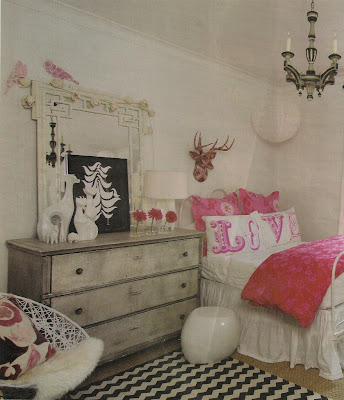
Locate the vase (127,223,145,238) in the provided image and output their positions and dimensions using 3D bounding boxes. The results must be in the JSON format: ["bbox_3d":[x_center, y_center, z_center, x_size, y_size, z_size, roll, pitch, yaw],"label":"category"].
[{"bbox_3d":[-0.224,0.196,2.697,0.091,0.089,0.095,-2,-6,41],"label":"vase"}]

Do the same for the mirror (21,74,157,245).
[{"bbox_3d":[-0.459,-0.270,2.638,0.423,0.922,0.928,8,11,39],"label":"mirror"}]

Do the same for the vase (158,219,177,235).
[{"bbox_3d":[-0.030,0.190,2.883,0.076,0.103,0.113,0,-5,1],"label":"vase"}]

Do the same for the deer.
[{"bbox_3d":[0.314,-0.363,3.407,0.406,0.357,0.209,-9,23,-44],"label":"deer"}]

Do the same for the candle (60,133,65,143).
[{"bbox_3d":[-0.656,-0.367,2.550,0.022,0.058,0.011,-7,12,-38],"label":"candle"}]

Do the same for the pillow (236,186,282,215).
[{"bbox_3d":[0.771,0.017,3.707,0.403,0.231,0.115,3,4,-16],"label":"pillow"}]

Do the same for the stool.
[{"bbox_3d":[0.197,0.784,2.485,0.404,0.243,0.276,8,3,-23],"label":"stool"}]

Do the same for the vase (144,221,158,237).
[{"bbox_3d":[-0.135,0.196,2.789,0.087,0.084,0.085,3,0,28],"label":"vase"}]

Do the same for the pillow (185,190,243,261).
[{"bbox_3d":[0.292,0.196,3.059,0.582,0.434,0.193,-1,-1,-38],"label":"pillow"}]

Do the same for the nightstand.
[{"bbox_3d":[-0.348,0.548,2.570,0.443,0.620,1.196,2,1,43],"label":"nightstand"}]

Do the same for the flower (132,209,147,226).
[{"bbox_3d":[-0.215,0.109,2.673,0.110,0.094,0.105,-2,-7,27],"label":"flower"}]

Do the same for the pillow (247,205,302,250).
[{"bbox_3d":[0.804,0.260,3.440,0.638,0.295,0.119,-15,13,-32],"label":"pillow"}]

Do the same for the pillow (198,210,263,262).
[{"bbox_3d":[0.443,0.253,3.075,0.607,0.299,0.134,0,-4,-40],"label":"pillow"}]

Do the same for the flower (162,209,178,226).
[{"bbox_3d":[-0.017,0.120,2.837,0.094,0.080,0.084,1,21,-10],"label":"flower"}]
